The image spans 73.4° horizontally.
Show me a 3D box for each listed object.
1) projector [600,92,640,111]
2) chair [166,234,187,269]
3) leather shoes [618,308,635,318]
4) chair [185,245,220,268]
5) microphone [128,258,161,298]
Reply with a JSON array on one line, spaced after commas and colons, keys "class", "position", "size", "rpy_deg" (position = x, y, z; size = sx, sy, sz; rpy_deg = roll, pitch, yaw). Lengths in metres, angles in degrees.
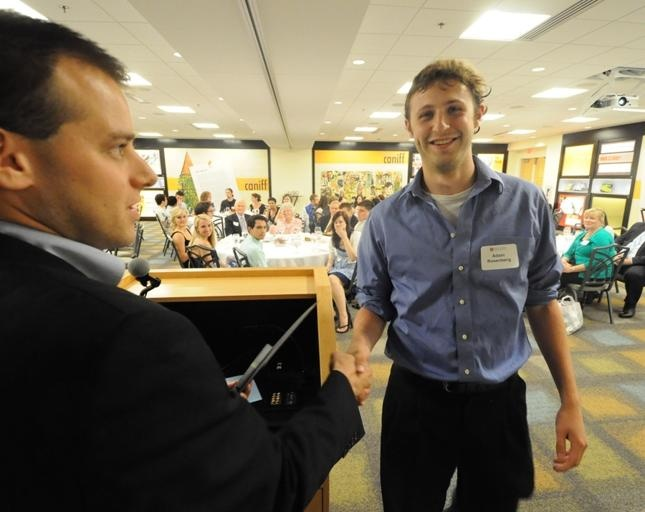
[{"class": "projector", "position": [3.746, -1.914, 5.495], "size": [0.266, 0.112, 0.358], "rpy_deg": [4, 7, 9]}, {"class": "chair", "position": [-1.874, -0.055, 5.539], "size": [0.238, 0.411, 0.385], "rpy_deg": [-18, 24, -19]}, {"class": "leather shoes", "position": [3.008, 0.552, 4.281], "size": [0.210, 0.079, 0.069], "rpy_deg": [8, -12, -37]}, {"class": "chair", "position": [-1.176, -0.003, 4.251], "size": [0.175, 0.282, 0.209], "rpy_deg": [3, 17, 8]}, {"class": "microphone", "position": [-0.516, 0.066, 1.248], "size": [0.066, 0.114, 0.045], "rpy_deg": [-1, 35, -5]}]
